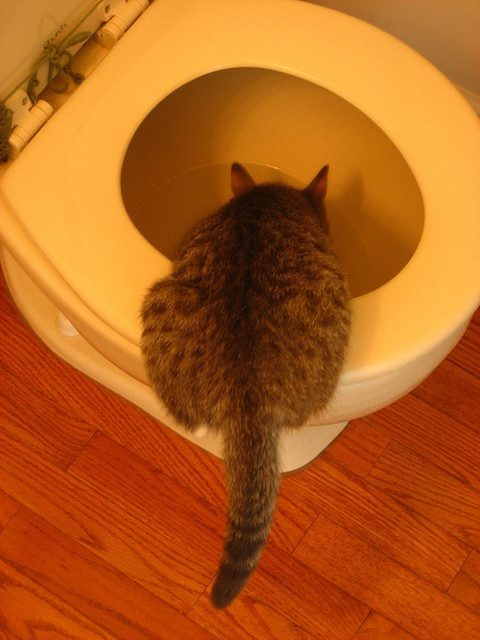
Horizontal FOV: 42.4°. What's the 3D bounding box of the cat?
[{"bbox_3d":[0.022,0.068,0.639,0.181,0.189,0.399,1,69,4],"label":"cat"}]
